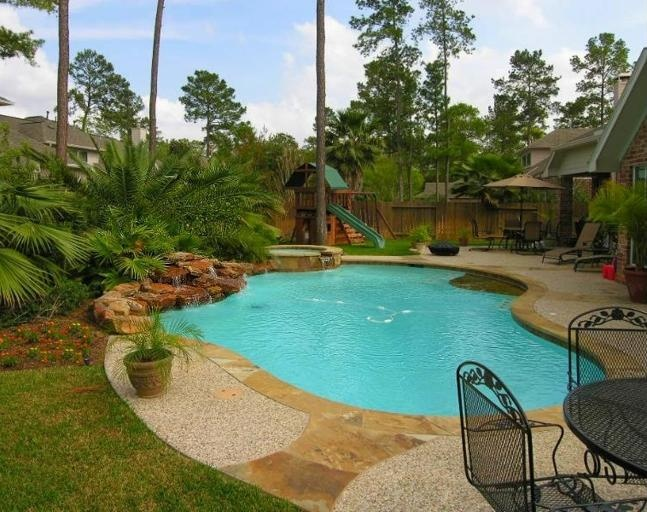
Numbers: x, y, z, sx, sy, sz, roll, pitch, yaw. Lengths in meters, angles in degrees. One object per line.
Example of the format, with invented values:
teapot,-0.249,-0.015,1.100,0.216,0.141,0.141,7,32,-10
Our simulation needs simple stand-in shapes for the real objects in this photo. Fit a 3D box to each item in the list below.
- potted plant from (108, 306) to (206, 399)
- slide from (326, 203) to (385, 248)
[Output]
potted plant,-2.003,1.269,5.812,1.144,0.764,1.178,-9,-10,30
slide,1.475,-1.635,23.353,3.220,2.010,0.897,7,10,35
